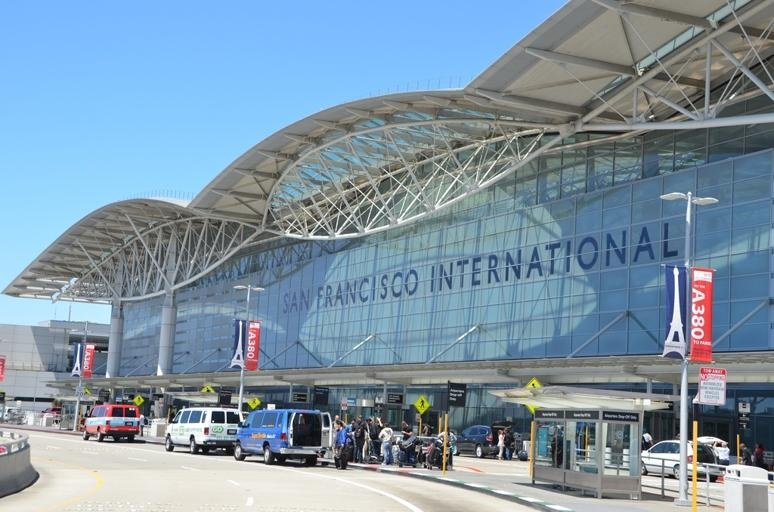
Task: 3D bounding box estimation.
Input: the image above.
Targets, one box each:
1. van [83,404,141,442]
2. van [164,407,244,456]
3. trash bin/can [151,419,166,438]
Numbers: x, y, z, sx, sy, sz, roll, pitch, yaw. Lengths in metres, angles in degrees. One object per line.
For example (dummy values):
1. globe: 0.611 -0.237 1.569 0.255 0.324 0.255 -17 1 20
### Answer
1. van: -19.458 11.679 58.387 2.893 2.581 4.076 8 -16 -25
2. van: -10.643 10.289 49.105 2.980 2.630 5.929 12 -18 -35
3. trash bin/can: -19.792 14.685 71.195 1.121 1.393 3.500 6 -14 -15
